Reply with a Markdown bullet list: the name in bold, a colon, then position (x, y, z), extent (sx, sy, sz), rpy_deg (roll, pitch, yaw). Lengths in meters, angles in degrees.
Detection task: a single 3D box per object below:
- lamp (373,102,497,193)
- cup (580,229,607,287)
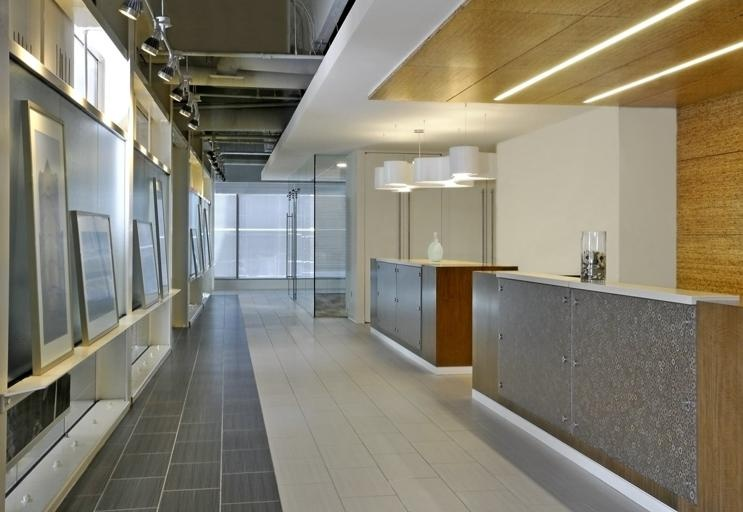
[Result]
- **lamp**: position (0.821, -1.159, 6.604), extent (1.227, 0.729, 1.558), rpy_deg (0, 1, 35)
- **cup**: position (1.826, 0.007, 4.013), extent (0.176, 0.398, 0.273), rpy_deg (1, 3, 22)
